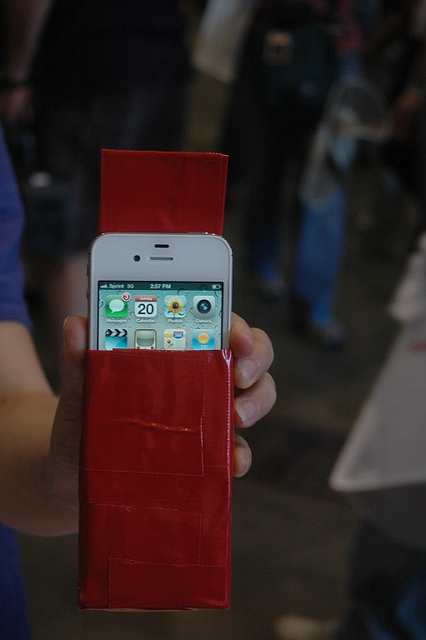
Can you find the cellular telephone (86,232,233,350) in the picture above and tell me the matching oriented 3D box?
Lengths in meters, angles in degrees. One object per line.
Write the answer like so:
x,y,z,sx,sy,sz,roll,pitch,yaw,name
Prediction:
-0.039,-0.019,0.443,0.086,0.009,0.084,1,89,0,cellular telephone
